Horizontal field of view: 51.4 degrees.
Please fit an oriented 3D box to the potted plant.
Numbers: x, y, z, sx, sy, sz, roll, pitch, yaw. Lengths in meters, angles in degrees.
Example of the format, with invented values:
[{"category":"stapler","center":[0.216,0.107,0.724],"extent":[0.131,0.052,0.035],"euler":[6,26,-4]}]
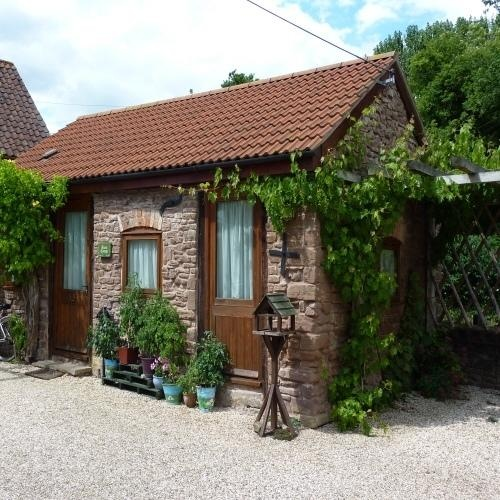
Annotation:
[{"category":"potted plant","center":[-1.333,1.429,7.884],"extent":[1.503,1.248,0.685],"euler":[6,7,42]}]
